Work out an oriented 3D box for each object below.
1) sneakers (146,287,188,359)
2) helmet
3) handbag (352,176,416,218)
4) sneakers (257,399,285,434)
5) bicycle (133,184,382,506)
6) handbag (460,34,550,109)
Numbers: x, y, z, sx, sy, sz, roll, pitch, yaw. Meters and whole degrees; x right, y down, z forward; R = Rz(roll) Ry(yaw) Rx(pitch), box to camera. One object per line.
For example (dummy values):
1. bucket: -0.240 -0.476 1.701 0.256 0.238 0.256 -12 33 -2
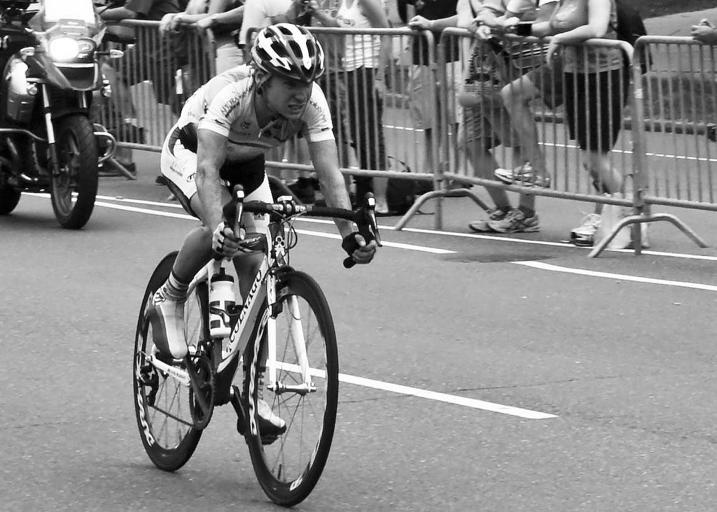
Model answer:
1. sneakers: -0.908 0.341 4.981 0.189 0.349 0.263 -19 0 -4
2. helmet: -0.323 -0.894 4.380 0.240 0.121 0.321 -17 39 -28
3. handbag: 0.299 -0.643 11.059 0.490 0.521 0.538 -1 8 -22
4. sneakers: -0.391 0.702 4.363 0.158 0.097 0.050 30 25 29
5. bicycle: -0.567 0.451 4.567 0.480 1.264 1.447 -12 19 -37
6. handbag: 1.363 -1.770 9.700 0.280 0.612 0.683 -4 9 -40
